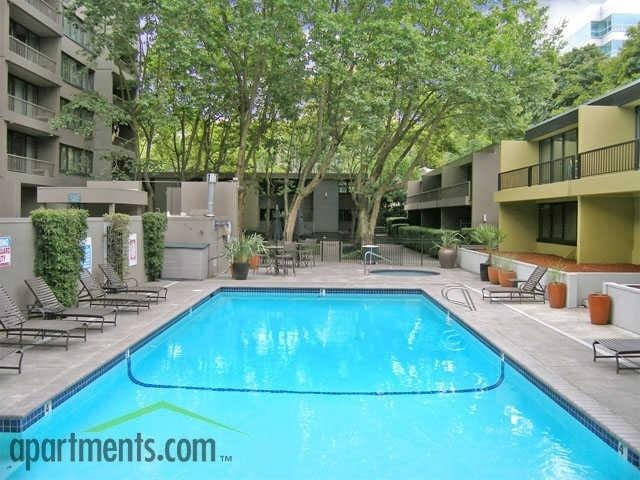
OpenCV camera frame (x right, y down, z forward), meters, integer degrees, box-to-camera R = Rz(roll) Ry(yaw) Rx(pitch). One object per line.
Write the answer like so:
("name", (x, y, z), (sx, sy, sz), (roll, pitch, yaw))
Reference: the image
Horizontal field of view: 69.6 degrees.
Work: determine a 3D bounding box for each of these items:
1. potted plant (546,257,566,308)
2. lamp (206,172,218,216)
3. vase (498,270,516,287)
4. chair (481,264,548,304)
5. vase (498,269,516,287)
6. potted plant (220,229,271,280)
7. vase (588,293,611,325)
("potted plant", (7.337, 1.508, 14.314), (0.552, 1.092, 1.180), (3, 7, 22))
("lamp", (-5.436, -2.254, 23.266), (0.512, 2.084, 4.212), (-2, 6, -13))
("vase", (6.899, 1.443, 17.259), (0.552, 0.550, 0.628), (5, -11, -21))
("chair", (6.470, 1.469, 15.312), (1.887, 1.099, 1.239), (0, -2, 2))
("vase", (6.962, 1.467, 17.256), (0.614, 0.548, 0.574), (-2, -3, 23))
("potted plant", (-3.434, 0.671, 20.890), (1.989, 2.205, 2.077), (0, -1, -14))
("vase", (7.240, 1.829, 12.106), (0.558, 0.672, 0.564), (1, -2, 5))
